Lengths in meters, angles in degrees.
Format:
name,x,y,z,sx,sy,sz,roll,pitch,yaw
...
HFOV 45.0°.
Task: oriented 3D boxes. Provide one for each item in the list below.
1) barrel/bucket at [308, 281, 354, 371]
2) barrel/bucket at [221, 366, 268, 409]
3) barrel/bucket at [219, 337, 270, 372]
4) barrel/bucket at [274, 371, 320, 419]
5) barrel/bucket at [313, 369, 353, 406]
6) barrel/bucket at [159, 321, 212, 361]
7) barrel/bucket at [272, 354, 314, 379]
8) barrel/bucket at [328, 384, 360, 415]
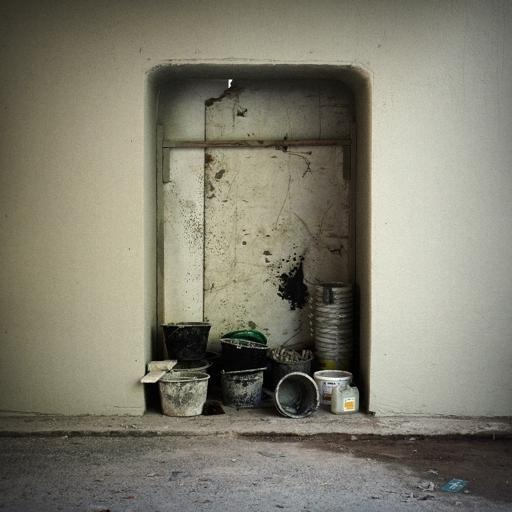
name,x,y,z,sx,sy,sz,roll,pitch,yaw
barrel/bucket,0.687,0.648,5.521,0.350,0.766,0.179,2,9,13
barrel/bucket,-0.117,1.112,5.204,0.320,0.268,0.358,0,-10,-7
barrel/bucket,-0.106,0.833,5.201,0.282,0.157,0.314,7,-11,-31
barrel/bucket,0.335,1.113,5.059,0.347,0.371,0.425,1,8,8
barrel/bucket,0.663,1.144,5.330,0.302,0.236,0.313,2,-1,0
barrel/bucket,-0.612,0.707,5.308,0.340,0.230,0.342,-2,-2,0
barrel/bucket,0.327,0.941,5.381,0.212,0.225,0.225,2,-3,0
barrel/bucket,0.716,1.183,4.999,0.245,0.274,0.161,1,-2,-9
